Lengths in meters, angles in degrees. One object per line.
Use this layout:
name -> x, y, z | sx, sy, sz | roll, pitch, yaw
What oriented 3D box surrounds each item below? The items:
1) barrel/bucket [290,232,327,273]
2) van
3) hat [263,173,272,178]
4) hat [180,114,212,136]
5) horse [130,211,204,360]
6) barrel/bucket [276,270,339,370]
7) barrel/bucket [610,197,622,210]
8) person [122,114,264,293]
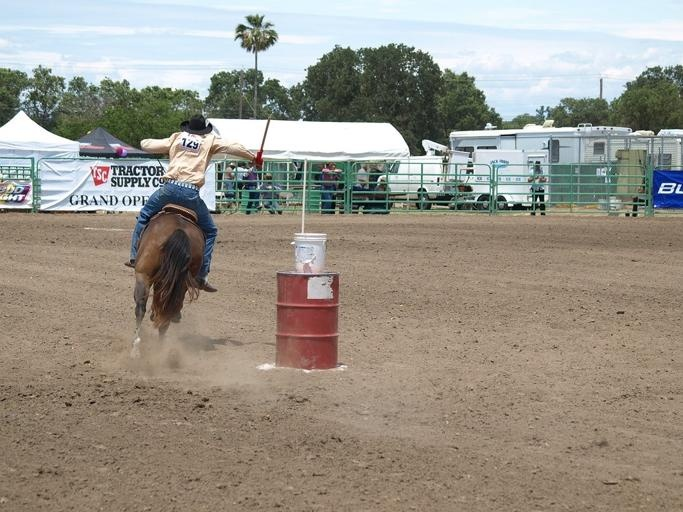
barrel/bucket -> -0.364, -0.025, 8.646 | 0.385, 0.382, 0.389 | -1, -1, 0
van -> 3.132, -2.789, 30.334 | 3.502, 1.993, 2.003 | 1, 1, 24
hat -> -2.623, -2.812, 29.351 | 0.186, 0.060, 0.184 | 11, -19, -44
hat -> -1.692, -1.523, 9.519 | 0.274, 0.125, 0.328 | 5, 26, -9
horse -> -1.869, 0.233, 8.815 | 0.633, 1.527, 0.779 | 1, 3, -1
barrel/bucket -> -0.350, 0.682, 8.495 | 0.602, 1.007, 0.263 | 0, 4, -12
barrel/bucket -> 9.649, -1.794, 28.844 | 0.436, 0.537, 0.531 | 2, 4, 21
person -> -1.753, -0.683, 9.641 | 1.456, 1.893, 1.044 | 11, 1, -20
